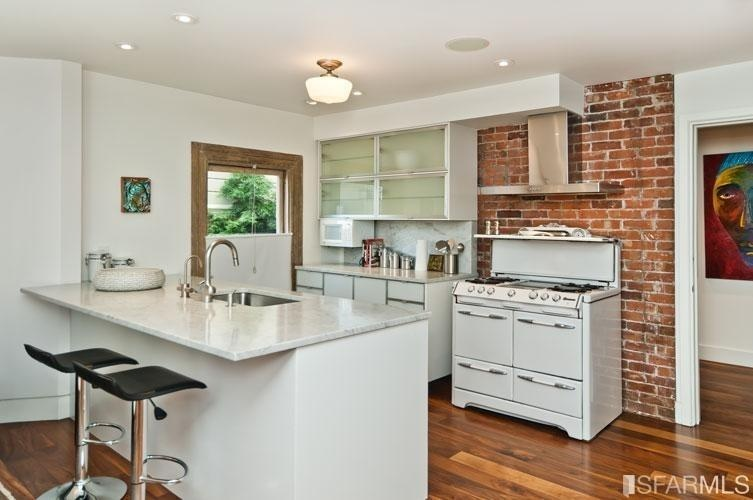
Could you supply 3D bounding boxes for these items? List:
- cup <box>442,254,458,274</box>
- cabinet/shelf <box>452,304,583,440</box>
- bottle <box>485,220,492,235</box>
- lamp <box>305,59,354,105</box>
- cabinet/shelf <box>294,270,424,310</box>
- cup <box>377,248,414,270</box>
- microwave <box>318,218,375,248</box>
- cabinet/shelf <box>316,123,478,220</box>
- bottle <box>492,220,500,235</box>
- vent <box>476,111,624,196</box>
[{"bbox_3d":[0.850,0.147,6.057,0.161,0.226,0.165,0,5,0],"label":"cup"},{"bbox_3d":[1.554,1.041,5.159,0.786,1.077,1.429,-3,3,-41],"label":"cabinet/shelf"},{"bbox_3d":[1.239,-0.260,5.954,0.070,0.149,0.181,1,4,9],"label":"bottle"},{"bbox_3d":[-0.393,-1.449,4.564,0.463,0.302,0.390,-4,23,-11],"label":"lamp"},{"bbox_3d":[-0.120,0.473,6.303,1.657,0.469,0.415,5,12,29],"label":"cabinet/shelf"},{"bbox_3d":[0.246,0.116,6.479,0.402,0.187,0.241,1,0,-20],"label":"cup"},{"bbox_3d":[-0.372,-0.228,6.872,0.544,0.353,0.443,3,5,37],"label":"microwave"},{"bbox_3d":[0.318,-0.915,6.177,1.608,0.689,0.524,0,-2,38],"label":"cabinet/shelf"},{"bbox_3d":[1.313,-0.258,5.888,0.072,0.146,0.175,1,4,11],"label":"bottle"},{"bbox_3d":[1.750,-0.955,5.420,0.595,0.792,1.445,-15,14,-41],"label":"vent"}]
